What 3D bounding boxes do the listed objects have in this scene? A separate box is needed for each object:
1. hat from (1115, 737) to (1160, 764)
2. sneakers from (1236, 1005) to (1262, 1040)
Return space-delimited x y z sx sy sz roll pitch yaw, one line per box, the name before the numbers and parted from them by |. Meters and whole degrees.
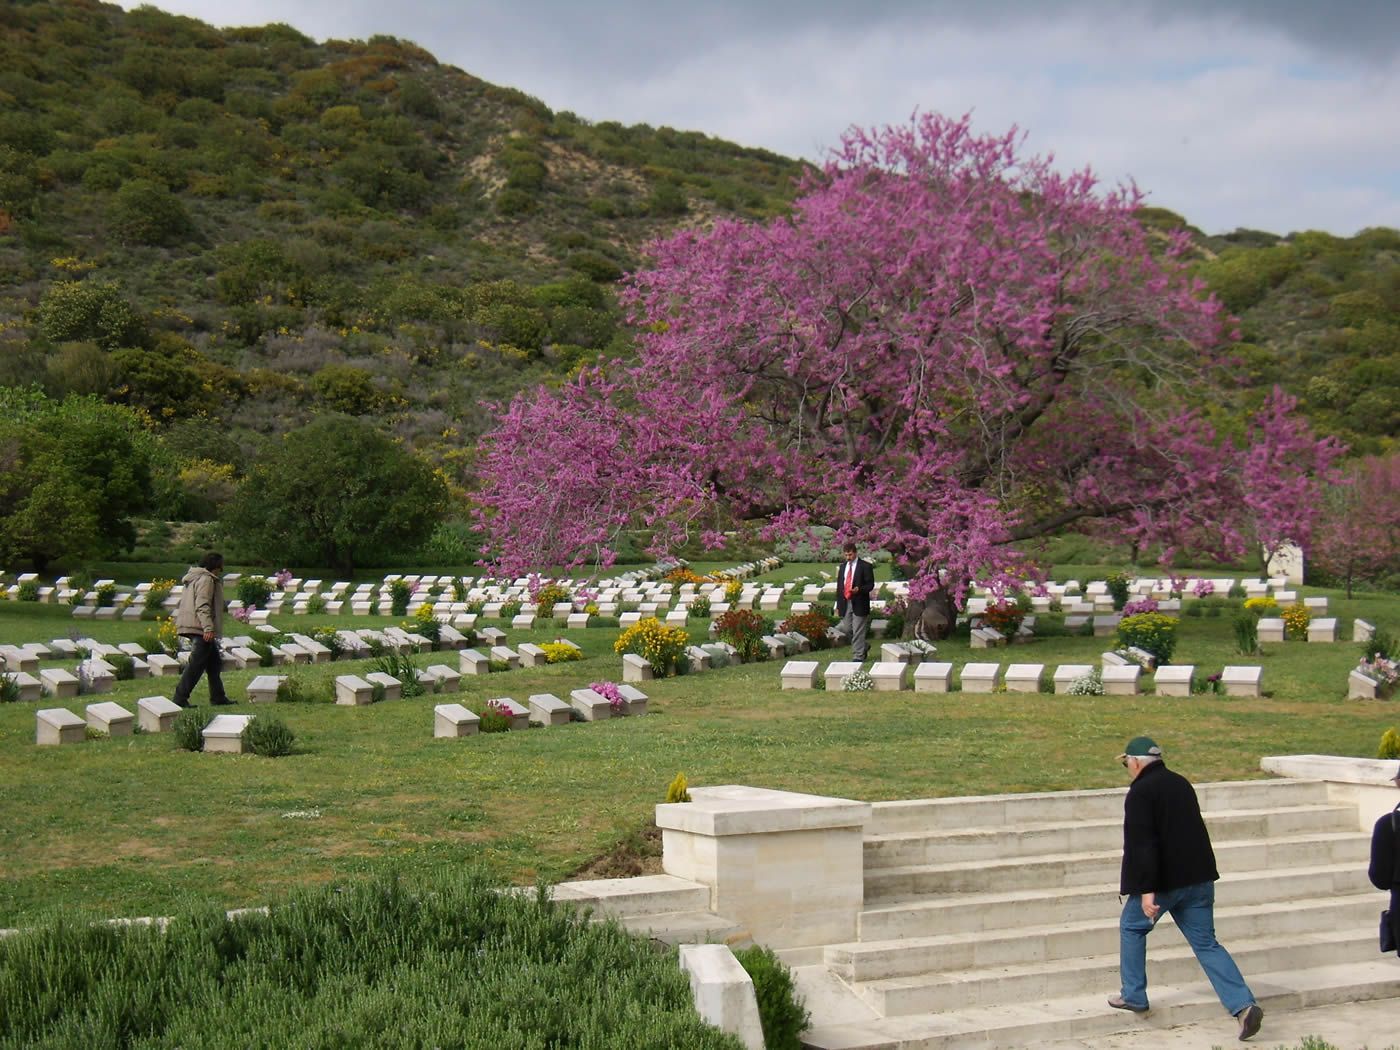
hat | 5.554 2.840 23.689 0.311 0.211 0.410 -6 12 -41
sneakers | 6.864 6.195 23.311 0.213 0.478 0.204 3 15 -4
